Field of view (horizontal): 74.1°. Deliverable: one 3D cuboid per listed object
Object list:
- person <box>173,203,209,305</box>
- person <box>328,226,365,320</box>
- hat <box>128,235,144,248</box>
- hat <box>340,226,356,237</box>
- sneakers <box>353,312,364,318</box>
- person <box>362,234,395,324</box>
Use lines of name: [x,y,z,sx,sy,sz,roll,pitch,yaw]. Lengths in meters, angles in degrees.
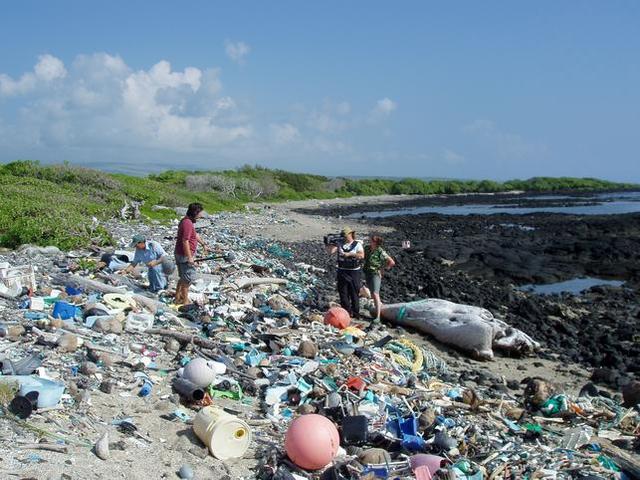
person: [-2.790,0.279,8.759,0.443,2.126,0.635,5,11,-11]
person: [0.602,0.774,9.789,0.898,2.180,0.632,5,11,-9]
hat: [-5.061,0.035,11.622,0.463,0.387,0.270,4,32,-16]
hat: [0.597,-0.196,9.446,0.271,0.215,0.227,6,10,2]
sneakers: [0.901,1.810,10.242,0.221,0.062,0.205,3,-1,-43]
person: [1.304,0.907,10.146,0.683,2.113,1.008,8,10,5]
